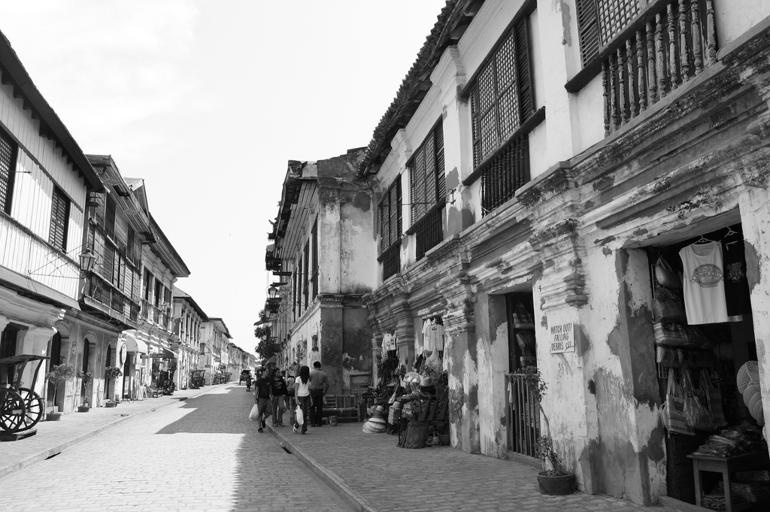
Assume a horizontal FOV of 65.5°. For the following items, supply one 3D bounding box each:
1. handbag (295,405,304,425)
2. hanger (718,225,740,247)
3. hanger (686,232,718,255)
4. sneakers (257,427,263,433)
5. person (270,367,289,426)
[{"bbox_3d":[-2.202,4.123,15.493,0.220,0.506,0.549,0,-8,-7],"label":"handbag"},{"bbox_3d":[4.923,-0.300,8.475,0.257,0.291,0.359,-6,-10,32],"label":"hanger"},{"bbox_3d":[4.537,-0.170,8.506,0.280,0.234,0.016,-2,4,13],"label":"hanger"},{"bbox_3d":[-3.540,4.994,17.162,0.162,0.180,0.099,-16,-17,37],"label":"sneakers"},{"bbox_3d":[-3.122,4.157,17.672,0.443,1.593,1.076,1,-8,-10],"label":"person"}]
